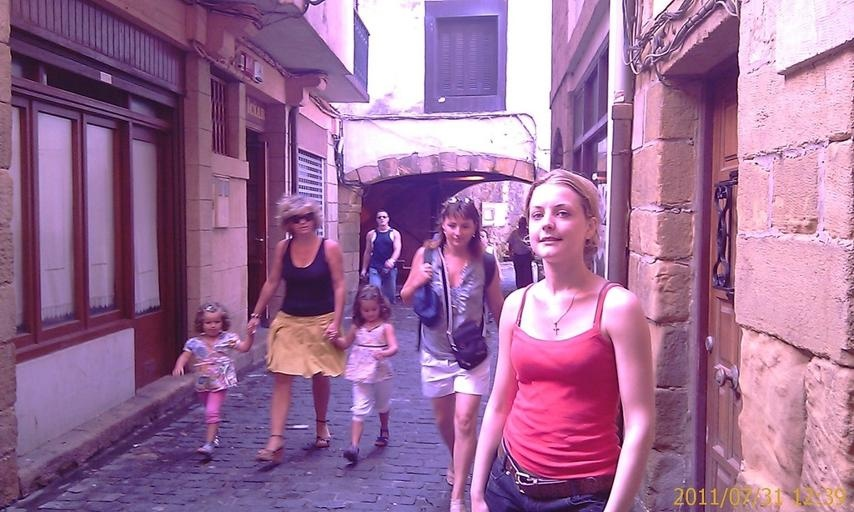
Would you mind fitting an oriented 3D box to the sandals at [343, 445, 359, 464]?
[{"bbox_3d":[-0.689,1.815,5.517,0.087,0.218,0.090,-2,46,-1],"label":"sandals"}]

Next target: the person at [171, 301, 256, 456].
[{"bbox_3d":[-2.110,1.161,5.888,0.671,1.374,0.657,-4,8,-36],"label":"person"}]

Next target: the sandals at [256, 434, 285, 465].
[{"bbox_3d":[-1.463,1.745,5.449,0.133,0.268,0.394,-12,-27,21],"label":"sandals"}]

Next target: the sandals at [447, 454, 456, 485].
[{"bbox_3d":[0.204,1.879,5.265,0.078,0.088,0.226,0,4,-1],"label":"sandals"}]

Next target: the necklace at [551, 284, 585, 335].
[{"bbox_3d":[0.655,0.266,2.882,0.067,0.278,0.050,34,19,21],"label":"necklace"}]

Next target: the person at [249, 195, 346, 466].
[{"bbox_3d":[-1.189,0.626,5.714,0.801,2.372,0.720,-1,6,-14],"label":"person"}]

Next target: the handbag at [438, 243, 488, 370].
[{"bbox_3d":[0.311,0.480,4.809,0.444,0.758,0.714,0,-2,-6],"label":"handbag"}]

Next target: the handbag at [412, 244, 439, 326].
[{"bbox_3d":[0.026,0.292,4.958,0.189,0.505,0.304,7,-9,6],"label":"handbag"}]

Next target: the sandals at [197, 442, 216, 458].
[{"bbox_3d":[-2.076,1.814,5.695,0.158,0.107,0.227,-2,6,-21],"label":"sandals"}]
